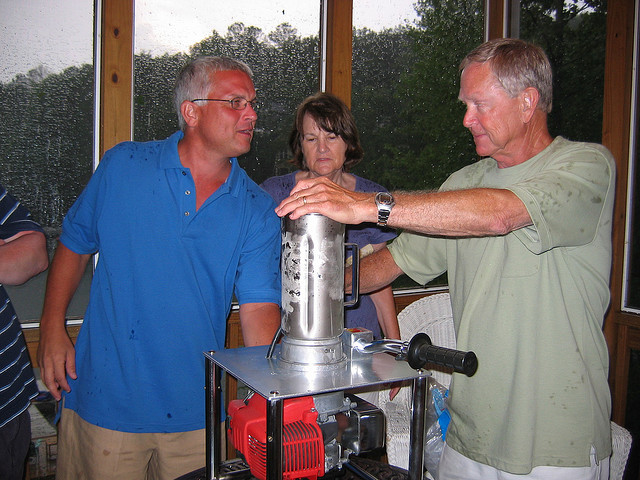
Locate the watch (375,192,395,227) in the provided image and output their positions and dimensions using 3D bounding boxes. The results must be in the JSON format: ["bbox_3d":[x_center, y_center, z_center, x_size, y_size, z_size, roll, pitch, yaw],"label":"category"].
[{"bbox_3d":[0.214,-0.103,1.911,0.066,0.110,0.048,-3,5,4],"label":"watch"}]

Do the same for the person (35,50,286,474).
[{"bbox_3d":[-0.628,0.111,2.306,0.947,1.646,0.293,-4,5,0],"label":"person"}]
